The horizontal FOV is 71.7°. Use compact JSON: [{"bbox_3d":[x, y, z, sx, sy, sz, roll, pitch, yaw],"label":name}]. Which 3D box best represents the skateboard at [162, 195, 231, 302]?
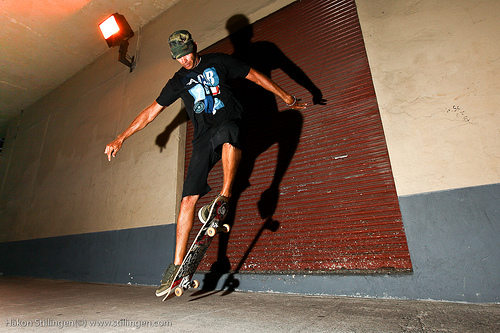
[{"bbox_3d":[-0.587,0.980,3.948,0.218,1.295,0.323,16,-21,44],"label":"skateboard"}]

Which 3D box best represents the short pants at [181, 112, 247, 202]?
[{"bbox_3d":[-0.410,-0.140,3.803,0.794,0.778,0.331,-19,-12,17],"label":"short pants"}]
